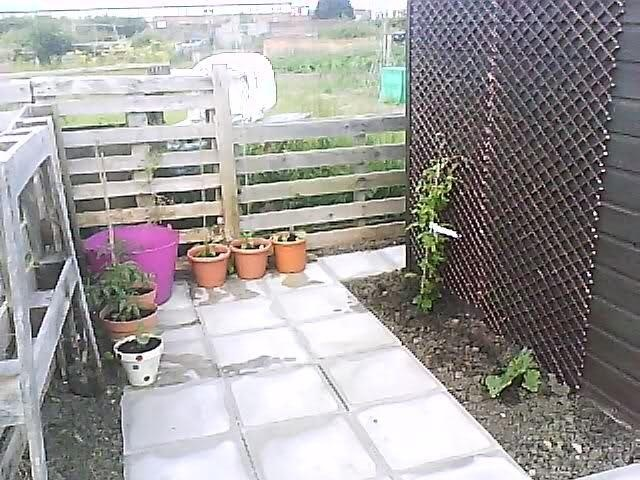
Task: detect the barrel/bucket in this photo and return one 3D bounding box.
[{"bbox_3d":[-1.480,0.120,3.816,0.657,0.498,0.704,0,13,0],"label":"barrel/bucket"}]
